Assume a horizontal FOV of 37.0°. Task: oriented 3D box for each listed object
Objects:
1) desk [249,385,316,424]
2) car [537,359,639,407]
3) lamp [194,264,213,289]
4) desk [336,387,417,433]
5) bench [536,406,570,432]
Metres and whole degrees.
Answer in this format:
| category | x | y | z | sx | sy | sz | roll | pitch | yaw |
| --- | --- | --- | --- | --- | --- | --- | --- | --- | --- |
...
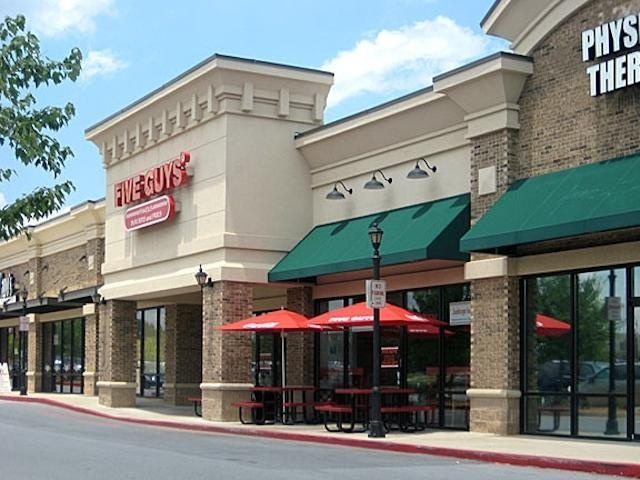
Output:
| category | x | y | z | sx | sy | sz | roll | pitch | yaw |
| --- | --- | --- | --- | --- | --- | --- | --- | --- | --- |
| desk | -1.096 | 5.130 | 29.882 | 1.569 | 0.850 | 1.715 | -8 | -12 | 40 |
| car | 6.384 | 3.387 | 23.030 | 1.898 | 0.814 | 0.920 | -11 | -12 | 40 |
| lamp | -3.708 | 1.111 | 30.239 | 0.495 | 0.830 | 0.804 | 7 | -15 | -29 |
| desk | 1.542 | 4.541 | 26.683 | 2.058 | 0.943 | 1.526 | 10 | -15 | -36 |
| bench | 5.699 | 4.346 | 23.236 | 0.621 | 0.439 | 0.669 | 11 | -14 | -41 |
